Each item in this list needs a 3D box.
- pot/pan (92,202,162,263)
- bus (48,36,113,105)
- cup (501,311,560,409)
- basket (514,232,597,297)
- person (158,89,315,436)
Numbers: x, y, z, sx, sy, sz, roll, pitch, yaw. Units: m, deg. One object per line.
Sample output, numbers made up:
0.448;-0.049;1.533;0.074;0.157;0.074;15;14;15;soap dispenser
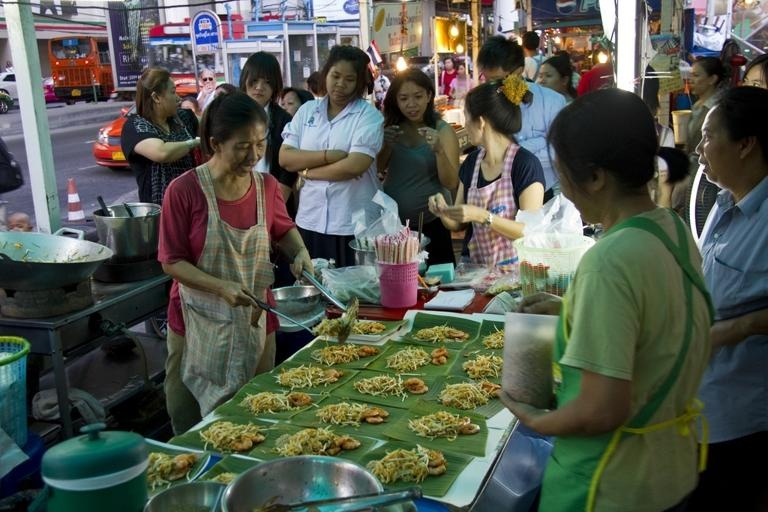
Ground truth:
-2.012;-0.188;4.268;0.485;0.357;0.500;-5;17;-26;pot/pan
-11.349;-7.079;20.276;1.975;3.219;2.081;-4;16;-8;bus
0.522;0.377;2.002;0.230;0.336;0.207;0;11;7;cup
1.120;0.013;3.513;0.474;0.329;0.483;5;9;40;basket
-0.896;0.282;3.452;0.916;2.434;0.919;27;32;34;person
